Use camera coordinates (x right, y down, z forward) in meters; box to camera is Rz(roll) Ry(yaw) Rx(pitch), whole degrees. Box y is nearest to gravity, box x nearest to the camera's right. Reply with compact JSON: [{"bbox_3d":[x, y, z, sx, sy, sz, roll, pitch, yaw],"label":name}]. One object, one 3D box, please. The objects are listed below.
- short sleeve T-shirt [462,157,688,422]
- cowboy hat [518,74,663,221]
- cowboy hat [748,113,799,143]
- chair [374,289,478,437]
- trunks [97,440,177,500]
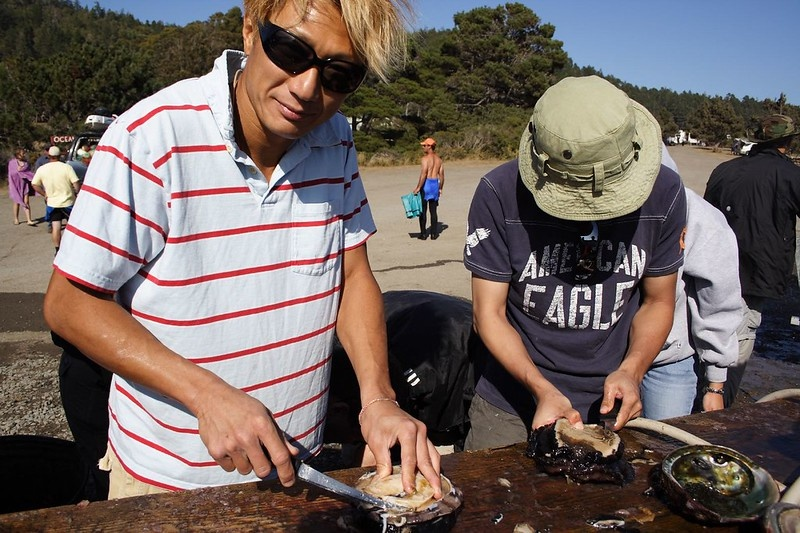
[{"bbox_3d":[1.003,0.084,3.503,1.162,1.592,0.552,-2,36,8],"label":"short sleeve T-shirt"},{"bbox_3d":[0.954,-0.608,3.064,0.700,0.689,0.404,0,12,8],"label":"cowboy hat"},{"bbox_3d":[3.691,-1.386,6.057,0.383,0.170,0.351,0,32,23],"label":"cowboy hat"},{"bbox_3d":[0.172,0.618,4.518,0.891,0.950,0.548,-3,-10,2],"label":"chair"},{"bbox_3d":[-1.155,0.963,2.802,0.207,0.165,0.213,-31,-18,23],"label":"trunks"}]
